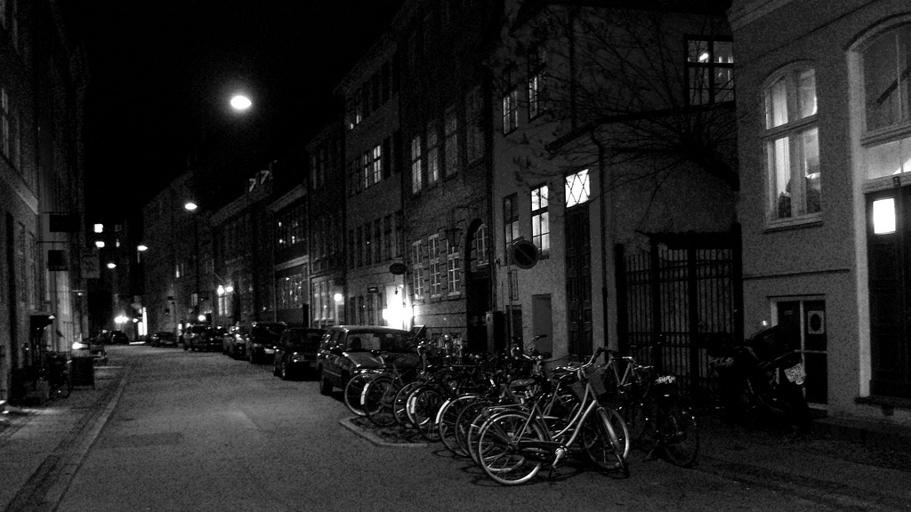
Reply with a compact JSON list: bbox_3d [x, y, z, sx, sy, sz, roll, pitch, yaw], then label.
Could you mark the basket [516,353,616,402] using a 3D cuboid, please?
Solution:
[{"bbox_3d":[2.345,2.645,16.924,2.038,1.166,1.223,-2,-1,-24],"label":"basket"}]
